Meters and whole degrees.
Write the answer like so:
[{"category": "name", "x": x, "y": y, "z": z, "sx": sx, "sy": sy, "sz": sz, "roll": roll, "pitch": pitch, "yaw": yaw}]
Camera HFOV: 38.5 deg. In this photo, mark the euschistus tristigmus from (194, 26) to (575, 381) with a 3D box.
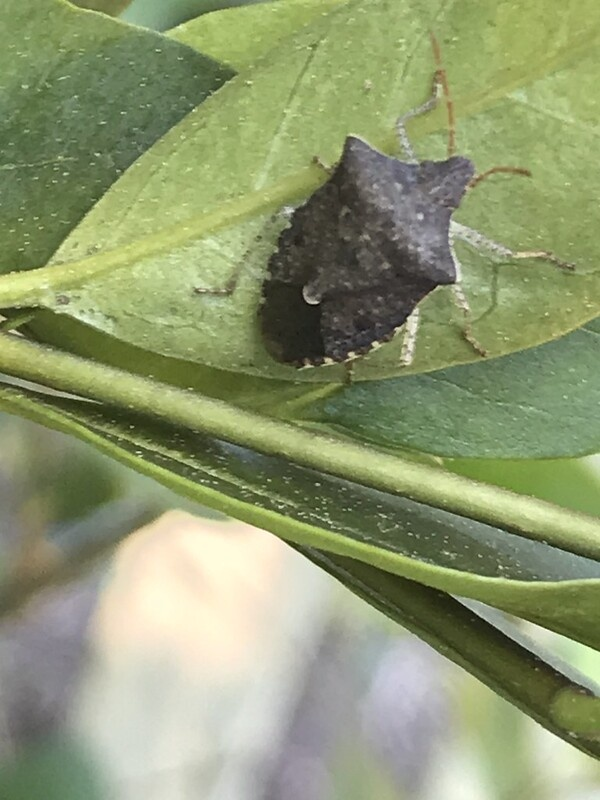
[{"category": "euschistus tristigmus", "x": 0.049, "y": -0.107, "z": 0.635, "sx": 0.231, "sy": 0.068, "sz": 0.183, "roll": -39, "pitch": 88, "yaw": -8}]
